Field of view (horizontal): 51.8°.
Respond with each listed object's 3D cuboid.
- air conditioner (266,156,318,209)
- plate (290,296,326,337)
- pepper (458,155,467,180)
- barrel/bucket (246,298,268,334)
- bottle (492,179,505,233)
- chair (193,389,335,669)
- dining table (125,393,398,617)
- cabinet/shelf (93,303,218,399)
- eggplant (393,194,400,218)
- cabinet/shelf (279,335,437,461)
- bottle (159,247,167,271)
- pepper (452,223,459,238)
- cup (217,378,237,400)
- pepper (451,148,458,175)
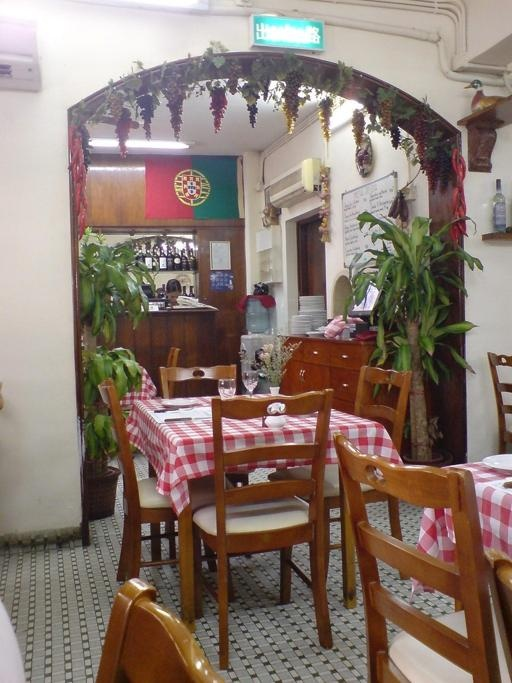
[{"bbox_3d":[0.453,-1.758,5.864,0.224,0.339,1.073,-2,9,-14],"label":"air conditioner"},{"bbox_3d":[0.517,-0.253,5.038,0.379,0.392,0.309,1,2,27],"label":"plate"},{"bbox_3d":[1.388,-1.163,3.545,0.040,0.136,0.102,-2,-1,13],"label":"pepper"},{"bbox_3d":[0.022,-0.350,6.947,0.313,0.469,0.282,-1,6,1],"label":"barrel/bucket"},{"bbox_3d":[1.653,-0.918,3.582,0.088,0.367,0.151,1,6,24],"label":"bottle"},{"bbox_3d":[0.035,0.637,2.010,0.550,0.987,0.573,-2,6,-10],"label":"chair"},{"bbox_3d":[-0.145,0.444,2.314,0.885,0.546,0.955,-3,6,-18],"label":"dining table"},{"bbox_3d":[-0.884,0.058,4.638,0.905,0.883,0.382,-5,18,-19],"label":"cabinet/shelf"},{"bbox_3d":[1.056,-1.033,4.023,0.040,0.163,0.048,1,13,-28],"label":"eggplant"},{"bbox_3d":[0.636,0.294,2.944,0.259,0.724,0.795,1,4,-15],"label":"cabinet/shelf"},{"bbox_3d":[-1.269,-1.110,7.211,0.101,0.290,0.200,-2,6,-9],"label":"bottle"},{"bbox_3d":[1.337,-0.741,3.537,0.024,0.096,0.056,0,-5,-26],"label":"pepper"},{"bbox_3d":[-0.133,0.223,2.526,0.086,0.100,0.086,0,0,0],"label":"cup"},{"bbox_3d":[1.333,-1.209,3.537,0.044,0.147,0.033,-3,5,-44],"label":"pepper"}]
